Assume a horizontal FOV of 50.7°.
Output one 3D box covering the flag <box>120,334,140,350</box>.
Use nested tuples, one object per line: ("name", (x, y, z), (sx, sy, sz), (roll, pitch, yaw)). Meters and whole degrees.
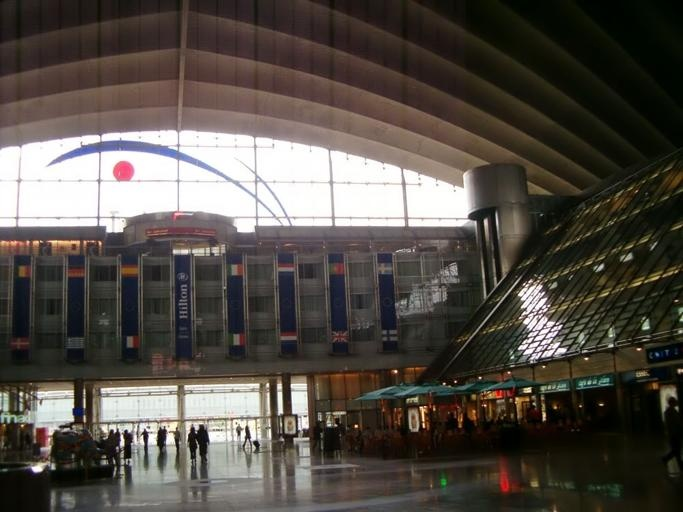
("flag", (-14.448, 5.893, 49.766), (1.516, 1.337, 0.793), (1, -4, -10))

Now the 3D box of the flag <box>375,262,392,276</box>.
("flag", (3.119, 0.818, 52.590), (1.255, 1.095, 0.145), (-3, -9, -9))

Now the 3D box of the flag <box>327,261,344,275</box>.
("flag", (-0.442, 0.948, 52.487), (1.491, 1.028, 0.790), (1, -18, -1))

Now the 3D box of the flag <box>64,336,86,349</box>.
("flag", (-17.978, 5.828, 48.767), (1.157, 0.819, 0.165), (-1, -10, -16))
